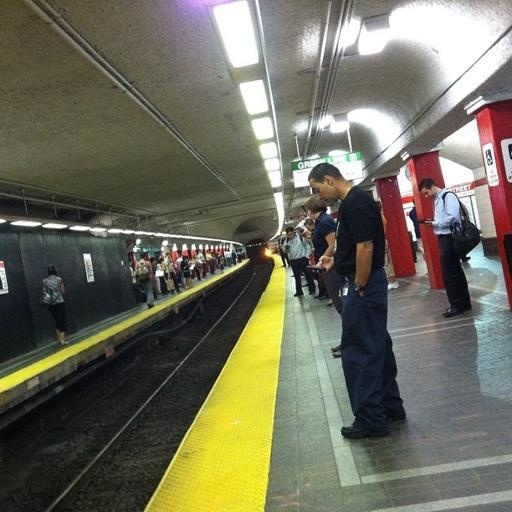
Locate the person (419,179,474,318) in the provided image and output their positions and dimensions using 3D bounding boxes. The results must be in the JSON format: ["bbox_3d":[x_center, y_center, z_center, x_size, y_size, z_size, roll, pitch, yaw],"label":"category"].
[{"bbox_3d":[2.807,-0.151,5.196,0.388,2.152,0.487,-10,-1,-3],"label":"person"}]

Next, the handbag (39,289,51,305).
[{"bbox_3d":[-5.318,1.033,8.981,0.246,0.385,0.157,-10,-1,18],"label":"handbag"}]

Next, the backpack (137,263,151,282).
[{"bbox_3d":[-4.528,0.635,14.383,0.585,0.839,0.455,-9,-10,-1],"label":"backpack"}]

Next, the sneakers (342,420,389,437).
[{"bbox_3d":[0.722,1.185,2.399,0.299,0.140,0.120,1,-6,9],"label":"sneakers"}]

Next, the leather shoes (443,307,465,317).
[{"bbox_3d":[2.932,0.822,5.317,0.225,0.091,0.155,0,1,14],"label":"leather shoes"}]

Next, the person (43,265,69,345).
[{"bbox_3d":[-5.156,1.274,9.136,0.506,1.882,0.344,-9,-1,-27],"label":"person"}]

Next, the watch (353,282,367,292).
[{"bbox_3d":[0.693,0.207,2.428,0.060,0.035,0.058,2,0,-40],"label":"watch"}]

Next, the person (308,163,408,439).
[{"bbox_3d":[0.726,0.243,2.583,0.505,1.987,0.470,-10,-1,21],"label":"person"}]
